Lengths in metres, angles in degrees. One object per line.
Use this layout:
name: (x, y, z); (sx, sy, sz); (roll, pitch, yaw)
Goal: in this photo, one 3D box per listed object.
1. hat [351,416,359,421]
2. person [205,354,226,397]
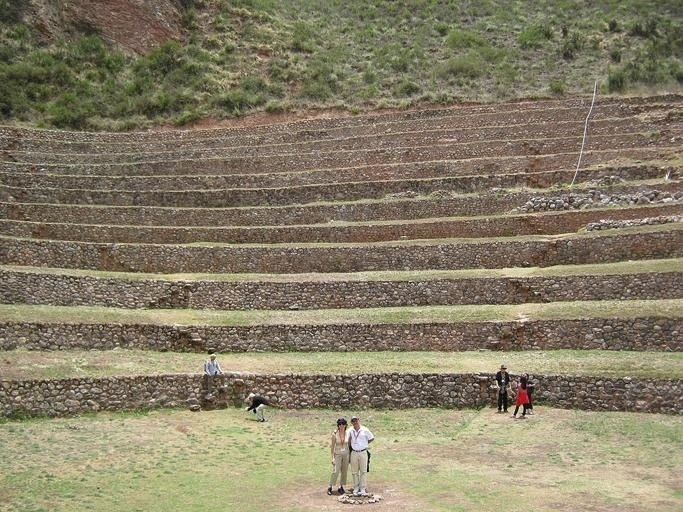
hat: (0.535, 6.383, 41.904); (0.267, 0.364, 0.168); (-5, 78, 3)
person: (-5.650, 5.293, 47.712); (0.838, 1.446, 1.202); (-8, 35, 5)
